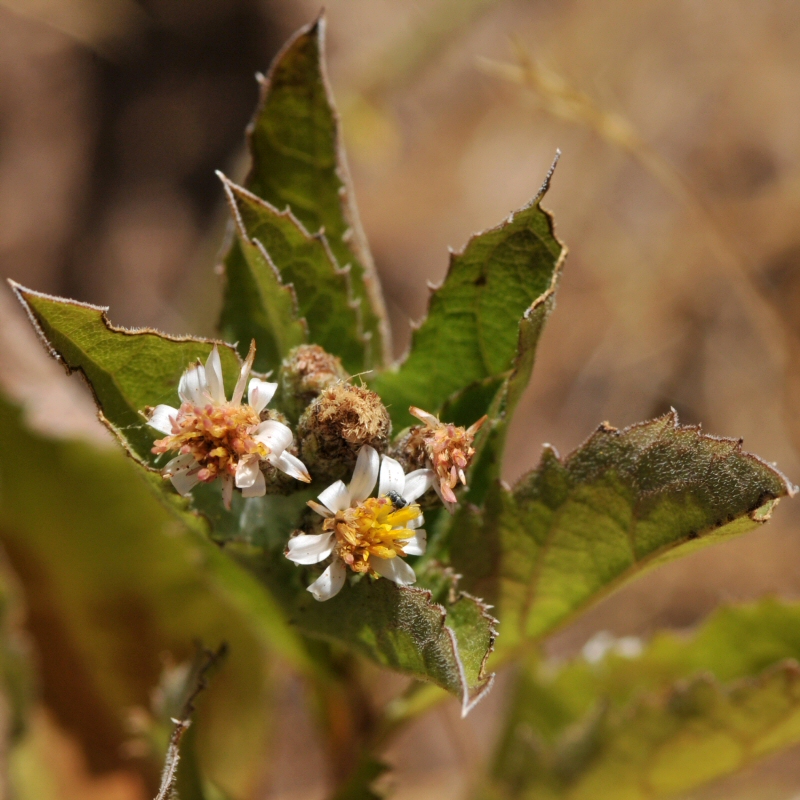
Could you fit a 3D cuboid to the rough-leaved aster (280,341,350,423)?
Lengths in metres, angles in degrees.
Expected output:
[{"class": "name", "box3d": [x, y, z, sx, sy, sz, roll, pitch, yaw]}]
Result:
[{"class": "rough-leaved aster", "box3d": [-0.149, -0.035, 2.067, 0.136, 0.163, 0.178, 4, -12, -10]}]

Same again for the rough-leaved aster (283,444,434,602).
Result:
[{"class": "rough-leaved aster", "box3d": [-0.074, 0.223, 1.900, 0.158, 0.086, 0.229, 19, -4, 42]}]

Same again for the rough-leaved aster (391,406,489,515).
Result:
[{"class": "rough-leaved aster", "box3d": [0.069, 0.116, 1.937, 0.189, 0.177, 0.129, 11, 22, 28]}]

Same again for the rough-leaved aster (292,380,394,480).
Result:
[{"class": "rough-leaved aster", "box3d": [-0.093, 0.021, 1.892, 0.130, 0.154, 0.153, 6, 23, -2]}]
